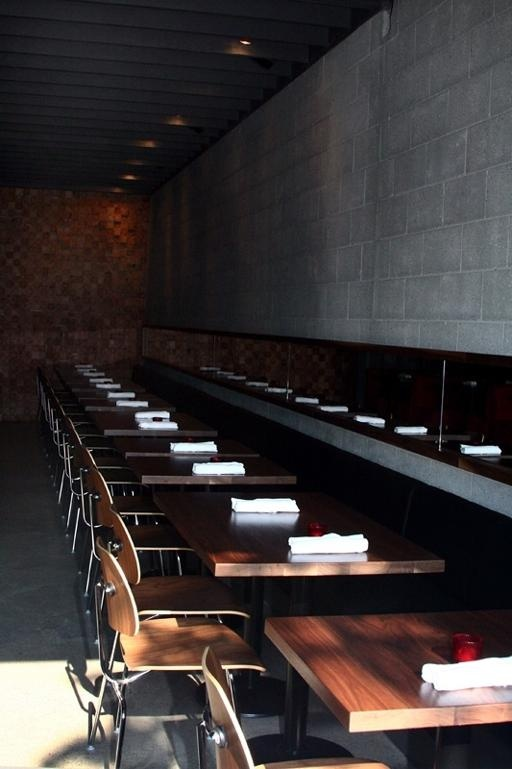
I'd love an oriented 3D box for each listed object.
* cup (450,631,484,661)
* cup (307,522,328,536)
[{"bbox_3d":[0.330,0.416,0.900,0.038,0.045,0.041,3,-4,0],"label":"cup"},{"bbox_3d":[0.199,0.474,1.859,0.038,0.026,0.056,1,-3,-2],"label":"cup"}]
